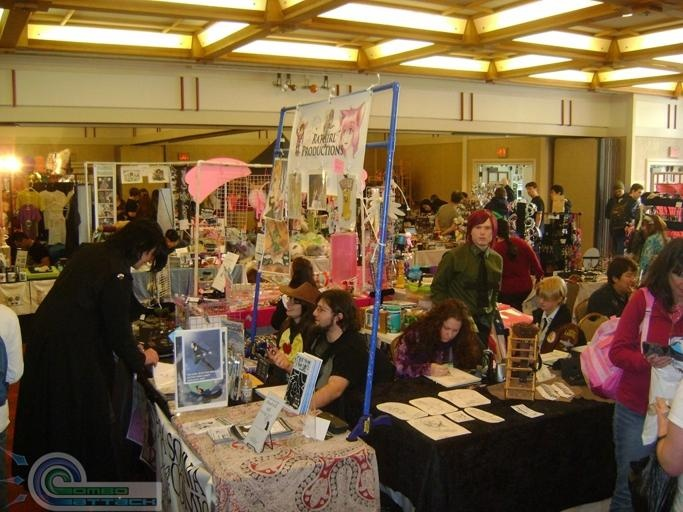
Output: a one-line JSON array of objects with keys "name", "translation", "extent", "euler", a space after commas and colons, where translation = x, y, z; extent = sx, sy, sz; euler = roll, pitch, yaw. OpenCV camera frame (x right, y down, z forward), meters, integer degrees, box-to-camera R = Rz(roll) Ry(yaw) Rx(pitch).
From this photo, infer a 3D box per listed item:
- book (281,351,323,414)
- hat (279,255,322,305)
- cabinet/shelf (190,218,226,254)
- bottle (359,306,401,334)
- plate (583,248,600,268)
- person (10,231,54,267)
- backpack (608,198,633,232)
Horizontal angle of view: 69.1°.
[{"name": "book", "translation": [-0.193, 0.630, 2.479], "extent": [0.086, 0.286, 0.206], "euler": [8, 2, -21]}, {"name": "hat", "translation": [-0.347, 0.205, 4.091], "extent": [0.416, 0.266, 0.624], "euler": [2, -2, -2]}, {"name": "cabinet/shelf", "translation": [-1.684, -0.262, 6.316], "extent": [0.629, 0.436, 0.432], "euler": [-3, -7, -2]}, {"name": "bottle", "translation": [0.344, 0.509, 4.018], "extent": [0.234, 0.155, 0.237], "euler": [1, 3, 0]}, {"name": "plate", "translation": [3.911, 0.030, 7.845], "extent": [0.275, 0.283, 0.066], "euler": [1, -4, 4]}, {"name": "person", "translation": [-5.115, -0.107, 8.297], "extent": [0.557, 0.729, 0.422], "euler": [12, 29, 2]}, {"name": "backpack", "translation": [5.373, -0.838, 9.551], "extent": [0.192, 0.559, 0.402], "euler": [8, -5, -22]}]
